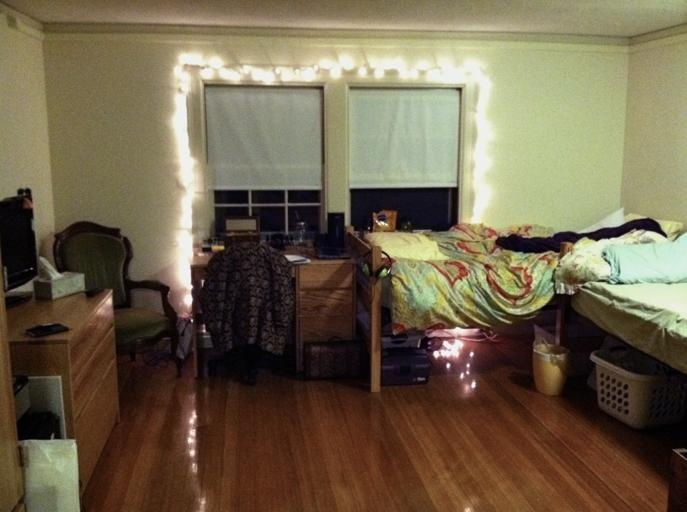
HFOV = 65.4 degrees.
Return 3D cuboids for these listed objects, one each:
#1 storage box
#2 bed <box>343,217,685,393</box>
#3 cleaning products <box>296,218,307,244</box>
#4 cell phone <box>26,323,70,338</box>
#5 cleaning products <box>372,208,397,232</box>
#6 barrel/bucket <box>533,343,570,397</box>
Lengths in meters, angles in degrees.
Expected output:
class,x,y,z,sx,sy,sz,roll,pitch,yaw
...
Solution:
class,x,y,z,sx,sy,sz,roll,pitch,yaw
storage box,0.463,0.727,4.423,0.448,0.217,0.582,0,14,0
bed,0.942,0.344,4.396,1.657,0.799,1.317,-2,13,-3
cleaning products,-0.392,-0.216,4.964,0.096,0.189,0.068,-2,9,-9
cell phone,-1.587,0.396,2.865,0.208,0.035,0.157,-6,11,-33
cleaning products,0.383,-0.336,5.040,0.228,0.229,0.076,-1,6,-11
barrel/bucket,1.525,0.863,4.185,0.313,0.378,0.341,2,10,0
